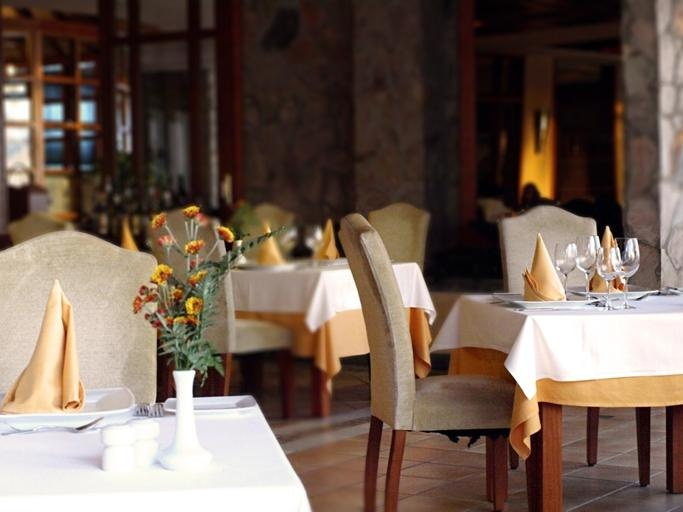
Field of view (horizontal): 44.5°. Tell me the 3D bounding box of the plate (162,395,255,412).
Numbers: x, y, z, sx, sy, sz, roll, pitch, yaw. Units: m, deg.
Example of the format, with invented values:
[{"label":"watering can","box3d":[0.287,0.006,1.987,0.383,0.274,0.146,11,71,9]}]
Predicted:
[{"label":"plate","box3d":[-0.336,0.398,2.243,0.151,0.019,0.114,-1,1,-9]}]
